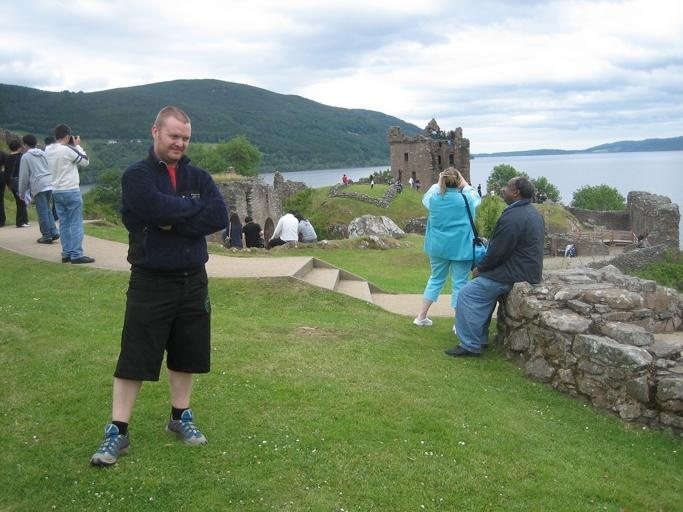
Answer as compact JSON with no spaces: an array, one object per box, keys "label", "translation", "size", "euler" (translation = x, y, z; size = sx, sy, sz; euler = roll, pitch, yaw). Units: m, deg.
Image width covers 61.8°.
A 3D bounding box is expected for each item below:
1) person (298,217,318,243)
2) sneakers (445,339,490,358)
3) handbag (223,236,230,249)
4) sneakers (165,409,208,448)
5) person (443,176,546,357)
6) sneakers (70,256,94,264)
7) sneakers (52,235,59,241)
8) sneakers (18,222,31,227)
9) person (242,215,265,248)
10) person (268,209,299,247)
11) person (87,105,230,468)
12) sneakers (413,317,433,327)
[{"label":"person","translation":[-1.277,-0.876,20.781],"size":[0.561,0.798,1.193],"euler":[8,8,23]},{"label":"sneakers","translation":[1.999,1.499,9.092],"size":[0.685,0.264,0.254],"euler":[9,-8,1]},{"label":"handbag","translation":[-3.720,-0.420,18.594],"size":[0.200,0.497,0.357],"euler":[0,-7,-28]},{"label":"sneakers","translation":[-1.586,1.767,5.900],"size":[0.515,0.293,0.182],"euler":[10,4,31]},{"label":"person","translation":[2.481,0.192,8.968],"size":[1.272,2.838,0.563],"euler":[5,8,5]},{"label":"sneakers","translation":[-5.146,0.095,11.412],"size":[0.460,0.179,0.161],"euler":[-3,13,-26]},{"label":"sneakers","translation":[-6.673,-0.421,13.376],"size":[0.151,0.110,0.148],"euler":[1,0,19]},{"label":"sneakers","translation":[-8.762,-0.856,15.798],"size":[0.398,0.156,0.142],"euler":[0,7,0]},{"label":"person","translation":[-2.855,-0.775,18.549],"size":[0.642,0.994,1.739],"euler":[3,8,-9]},{"label":"person","translation":[-2.011,-0.930,19.448],"size":[1.220,1.543,1.135],"euler":[2,3,-24]},{"label":"person","translation":[-1.759,0.241,5.740],"size":[1.186,3.429,0.775],"euler":[0,9,-28]},{"label":"sneakers","translation":[1.483,1.210,10.449],"size":[0.311,0.129,0.150],"euler":[0,0,-14]}]
